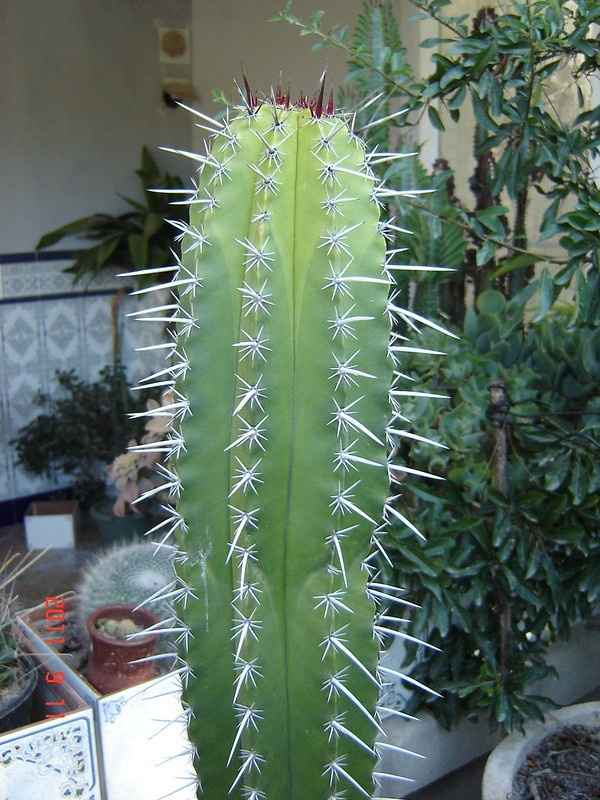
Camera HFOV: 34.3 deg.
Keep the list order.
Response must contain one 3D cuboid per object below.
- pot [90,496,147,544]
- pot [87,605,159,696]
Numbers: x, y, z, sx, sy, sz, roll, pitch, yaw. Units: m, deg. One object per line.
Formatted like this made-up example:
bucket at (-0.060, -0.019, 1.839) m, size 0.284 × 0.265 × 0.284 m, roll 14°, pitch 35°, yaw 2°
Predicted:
pot at (-0.424, 0.291, 2.284) m, size 0.135 × 0.084 × 0.128 m, roll 4°, pitch 7°, yaw -1°
pot at (-0.311, 0.442, 1.706) m, size 0.132 × 0.125 × 0.118 m, roll -12°, pitch -37°, yaw 7°
